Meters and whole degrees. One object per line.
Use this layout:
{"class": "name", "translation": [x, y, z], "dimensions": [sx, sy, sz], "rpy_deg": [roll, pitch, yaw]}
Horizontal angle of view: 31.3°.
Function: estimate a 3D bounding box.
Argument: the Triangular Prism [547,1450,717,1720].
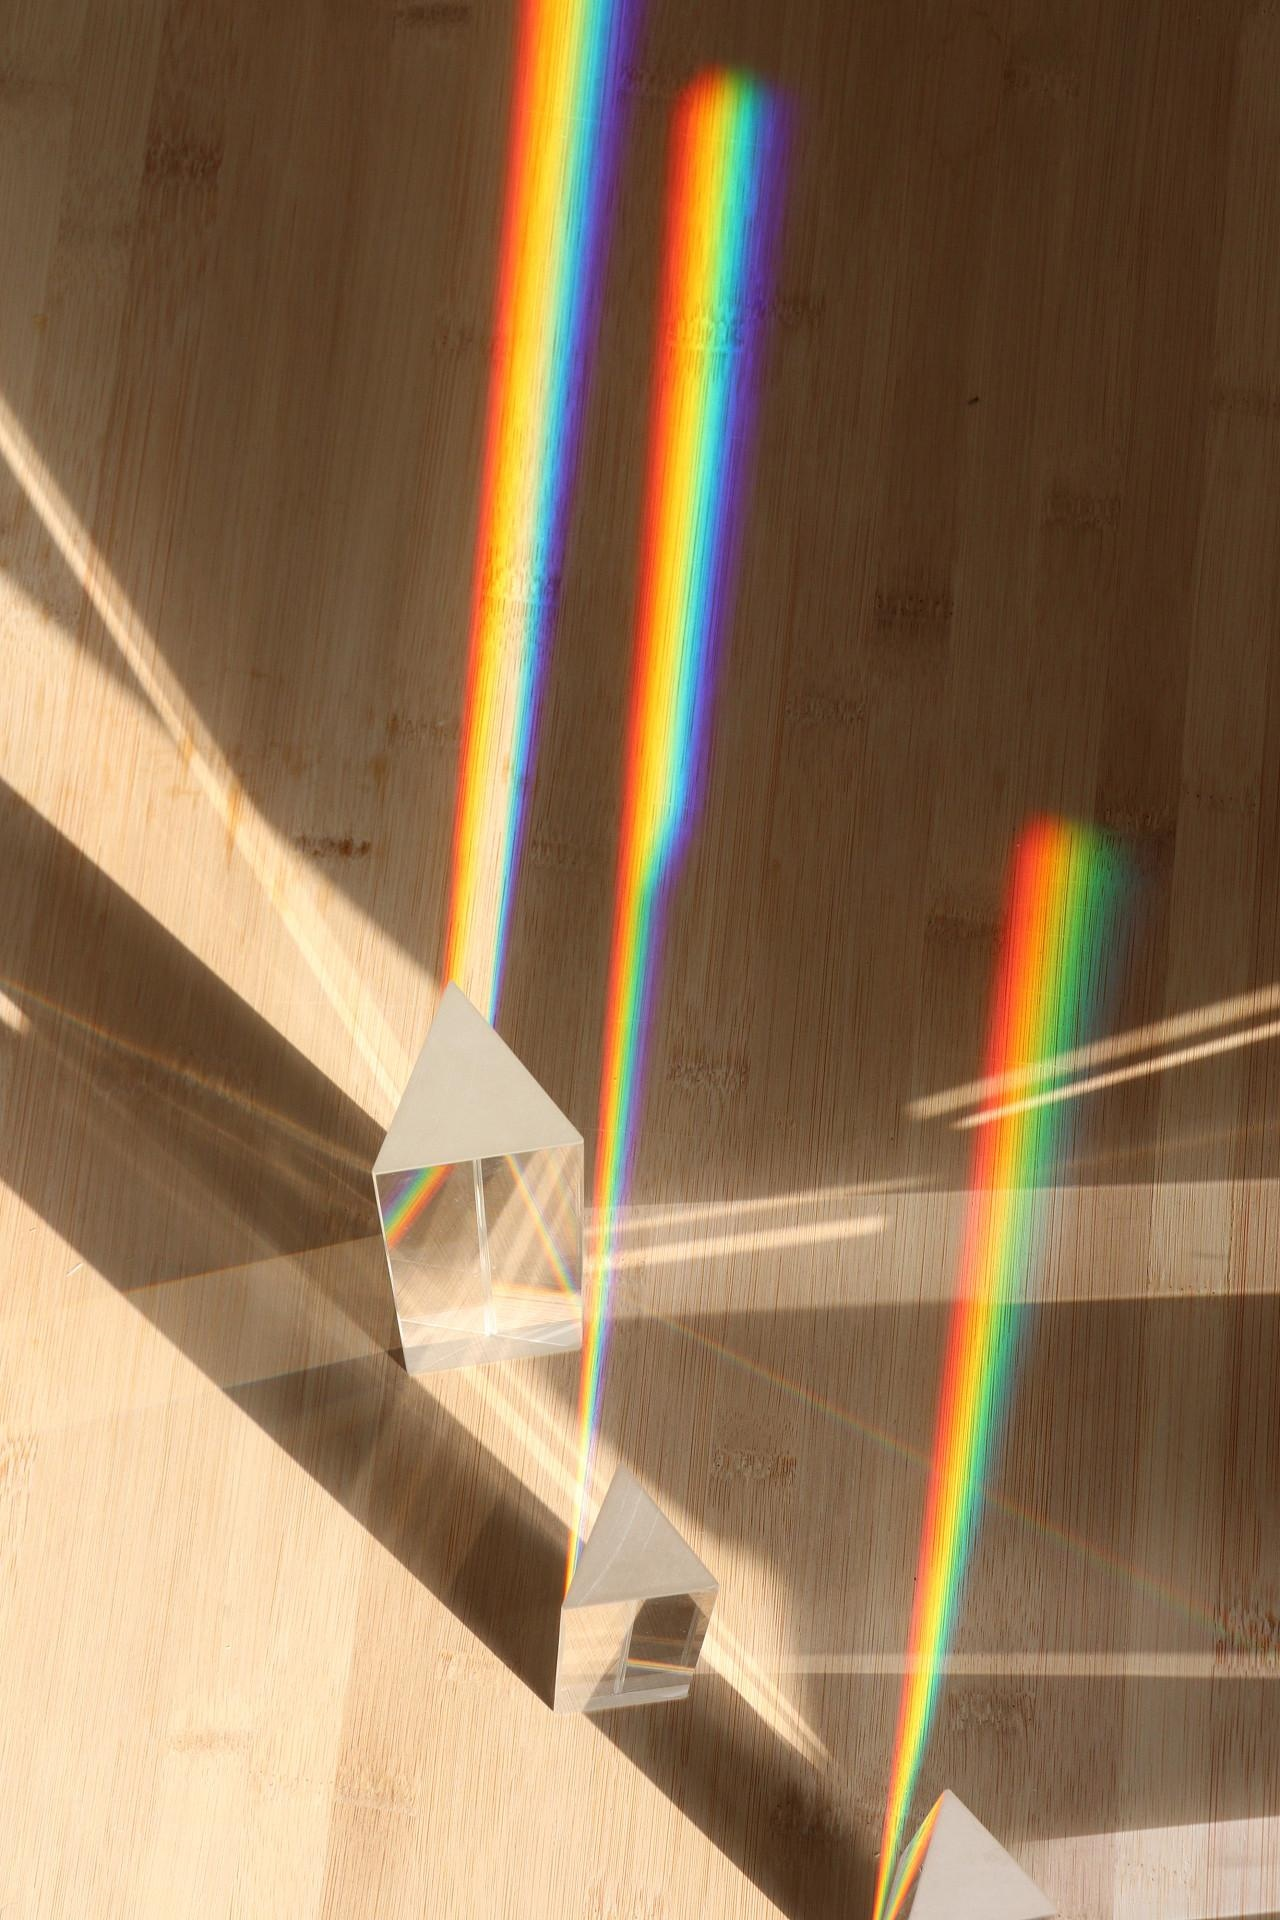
{"class": "Triangular Prism", "translation": [-0.014, 0.370, 1.522], "dimensions": [0.096, 0.198, 0.164], "rpy_deg": [-5, -27, -10]}
